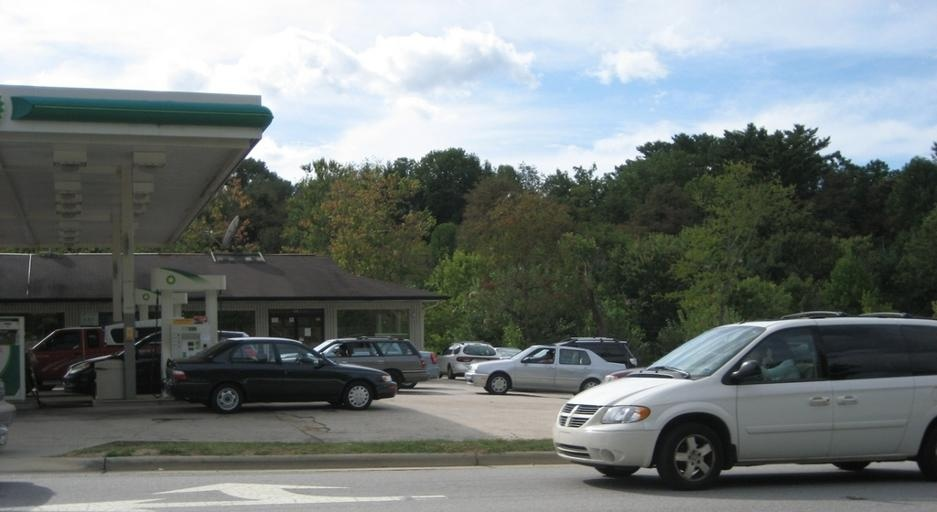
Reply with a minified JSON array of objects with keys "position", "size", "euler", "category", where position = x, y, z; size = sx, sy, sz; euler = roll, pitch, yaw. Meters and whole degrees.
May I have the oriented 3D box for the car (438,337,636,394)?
[{"position":[3.459,4.932,46.084],"size":[6.309,1.951,2.766],"euler":[2,-6,0],"category":"car"}]
